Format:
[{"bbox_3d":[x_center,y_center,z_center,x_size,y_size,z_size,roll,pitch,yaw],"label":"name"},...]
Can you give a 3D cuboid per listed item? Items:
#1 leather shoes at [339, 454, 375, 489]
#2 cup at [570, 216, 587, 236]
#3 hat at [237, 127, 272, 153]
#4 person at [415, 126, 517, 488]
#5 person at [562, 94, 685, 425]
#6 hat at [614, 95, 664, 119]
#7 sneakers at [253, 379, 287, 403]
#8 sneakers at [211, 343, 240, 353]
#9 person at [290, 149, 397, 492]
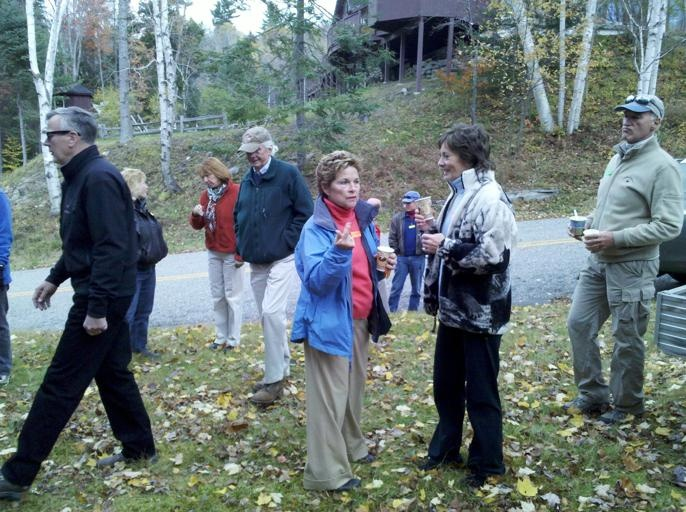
[{"bbox_3d":[0.155,2.182,6.320,0.144,0.195,0.461,5,47,52],"label":"leather shoes"},{"bbox_3d":[2.497,-0.340,6.727,0.198,0.156,0.214,0,2,0],"label":"cup"},{"bbox_3d":[-1.074,-1.456,7.728,0.281,0.200,0.410,7,16,35],"label":"hat"},{"bbox_3d":[1.168,0.455,6.073,0.866,3.425,0.623,3,11,25],"label":"person"},{"bbox_3d":[2.974,0.028,6.689,1.066,3.443,0.696,2,11,19],"label":"person"},{"bbox_3d":[3.172,-1.534,6.579,0.506,0.192,0.319,2,10,-27],"label":"hat"},{"bbox_3d":[-0.874,1.659,7.636,0.443,0.206,0.178,4,7,-44],"label":"sneakers"},{"bbox_3d":[-1.700,1.288,8.965,0.413,0.169,0.139,-2,6,21],"label":"sneakers"},{"bbox_3d":[-0.026,0.621,6.181,0.773,3.291,0.976,3,11,27],"label":"person"}]
